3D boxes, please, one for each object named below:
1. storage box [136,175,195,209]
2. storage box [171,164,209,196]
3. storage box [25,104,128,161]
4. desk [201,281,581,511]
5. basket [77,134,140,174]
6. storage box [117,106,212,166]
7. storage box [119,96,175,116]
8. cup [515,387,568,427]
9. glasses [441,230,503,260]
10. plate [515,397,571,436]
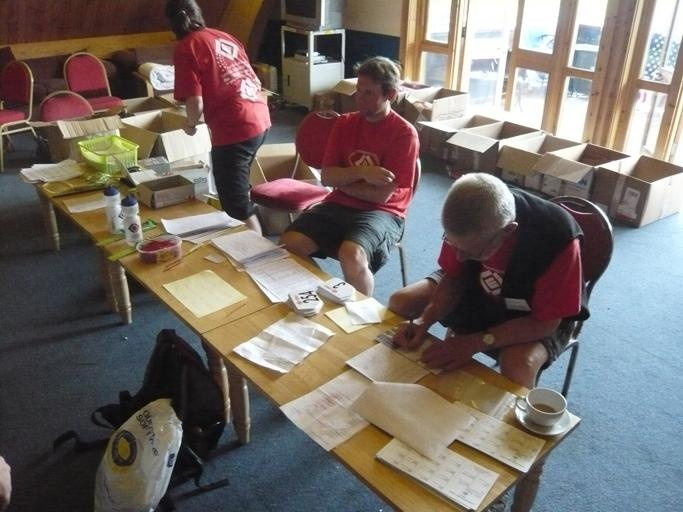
[{"bbox_3d":[-1.004,-0.362,2.995,0.261,0.102,0.254,-20,33,-37],"label":"storage box"},{"bbox_3d":[-0.930,-0.462,3.259,0.233,0.199,0.120,-14,26,-32],"label":"storage box"},{"bbox_3d":[-2.113,-0.922,4.268,0.636,0.402,0.655,14,27,30],"label":"storage box"},{"bbox_3d":[0.086,0.625,2.112,0.743,0.647,1.266,-20,33,-38],"label":"desk"},{"bbox_3d":[-1.477,-0.694,3.346,0.275,0.134,0.399,-25,38,-37],"label":"basket"},{"bbox_3d":[-1.410,-0.893,4.240,0.573,0.408,0.721,-19,29,-37],"label":"storage box"},{"bbox_3d":[-1.828,-1.433,5.009,0.385,0.215,0.369,-20,36,-30],"label":"storage box"},{"bbox_3d":[0.692,0.515,1.822,0.153,0.078,0.116,4,24,21],"label":"cup"},{"bbox_3d":[0.513,-0.033,2.035,0.124,0.074,0.151,16,36,40],"label":"glasses"},{"bbox_3d":[0.694,0.552,1.814,0.196,0.081,0.115,9,26,15],"label":"plate"}]
